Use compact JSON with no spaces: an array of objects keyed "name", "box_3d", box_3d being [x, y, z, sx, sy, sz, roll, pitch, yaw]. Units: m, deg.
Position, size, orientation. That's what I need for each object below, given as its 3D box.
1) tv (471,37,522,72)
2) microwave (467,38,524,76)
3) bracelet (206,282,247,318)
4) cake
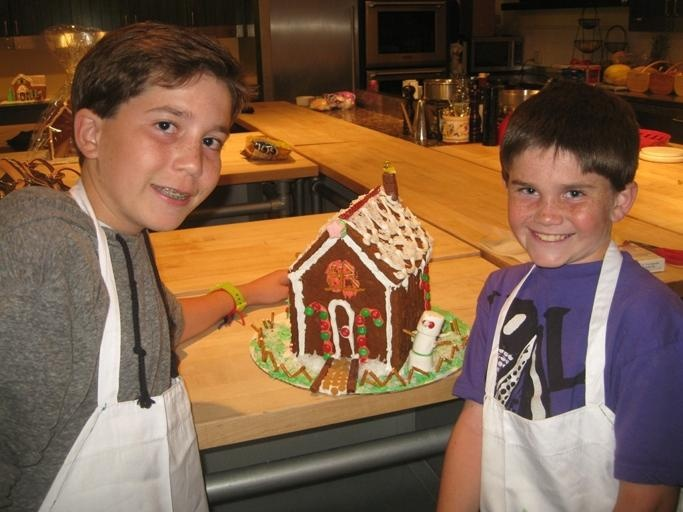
[{"name":"tv","box_3d":[1.744,-2.254,5.836,0.245,0.376,0.837,10,19,42]},{"name":"microwave","box_3d":[1.676,-2.288,5.842,0.734,0.465,0.461,-8,18,-22]},{"name":"bracelet","box_3d":[-0.294,0.106,1.371,0.090,0.090,0.068,-5,9,29]},{"name":"cake","box_3d":[0.005,0.065,1.157,0.441,0.346,0.445,11,28,24]}]
